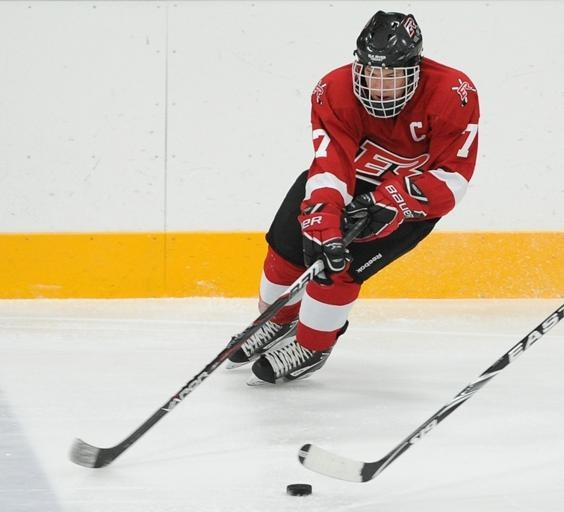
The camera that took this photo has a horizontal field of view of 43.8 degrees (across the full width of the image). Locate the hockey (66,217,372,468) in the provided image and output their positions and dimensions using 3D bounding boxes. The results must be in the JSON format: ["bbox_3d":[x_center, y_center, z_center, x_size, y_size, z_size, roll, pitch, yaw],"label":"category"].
[{"bbox_3d":[-0.247,0.310,2.520,1.137,0.190,0.120,-33,59,-11],"label":"hockey"}]

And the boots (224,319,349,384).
[{"bbox_3d":[0.012,0.347,2.463,0.357,0.117,0.223,-31,58,-8],"label":"boots"}]
